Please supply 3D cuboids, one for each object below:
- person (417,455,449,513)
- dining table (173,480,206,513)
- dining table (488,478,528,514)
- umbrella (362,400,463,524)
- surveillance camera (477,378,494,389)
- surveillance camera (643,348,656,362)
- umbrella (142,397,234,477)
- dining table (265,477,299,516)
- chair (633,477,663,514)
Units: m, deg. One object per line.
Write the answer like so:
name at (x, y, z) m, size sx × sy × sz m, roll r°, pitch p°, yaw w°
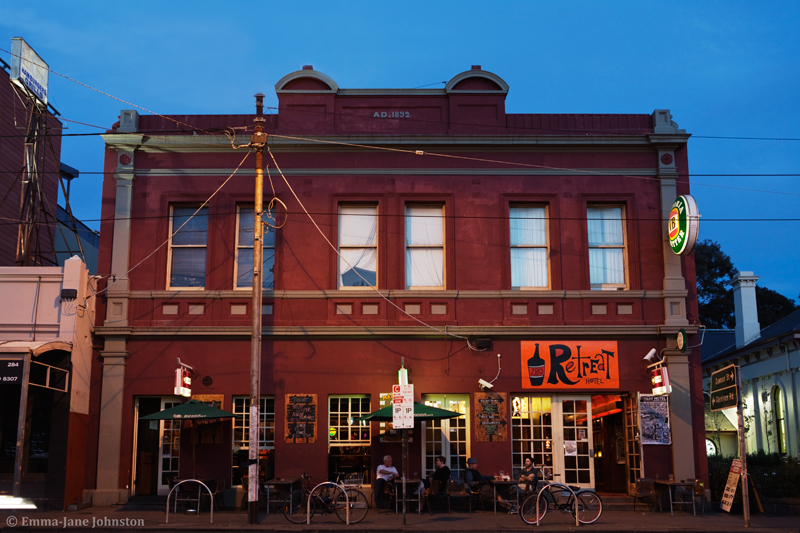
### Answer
person at (1.053, 6.911, 33.037) m, size 1.009 × 1.659 × 0.633 m, roll 2°, pitch -17°, yaw -7°
dining table at (-6.619, 7.244, 32.755) m, size 1.076 × 0.978 × 1.718 m, roll 3°, pitch -18°, yaw -12°
dining table at (3.428, 7.282, 32.867) m, size 0.984 × 0.999 × 1.006 m, roll 0°, pitch -1°, yaw 4°
umbrella at (0.386, 5.931, 33.048) m, size 3.084 × 3.150 × 3.173 m, roll -1°, pitch -19°, yaw 2°
surveillance camera at (2.811, 3.898, 34.404) m, size 0.512 × 0.317 × 0.276 m, roll -2°, pitch -17°, yaw 5°
surveillance camera at (8.262, 2.905, 34.513) m, size 0.416 × 0.408 × 0.428 m, roll -6°, pitch -18°, yaw 19°
umbrella at (-6.836, 5.169, 33.826) m, size 2.448 × 2.368 × 2.735 m, roll 0°, pitch -22°, yaw 2°
dining table at (-3.740, 6.972, 32.829) m, size 0.952 × 1.128 × 1.699 m, roll 0°, pitch -9°, yaw 0°
chair at (7.787, 7.260, 33.067) m, size 0.827 × 0.997 × 0.980 m, roll -7°, pitch -18°, yaw 20°
